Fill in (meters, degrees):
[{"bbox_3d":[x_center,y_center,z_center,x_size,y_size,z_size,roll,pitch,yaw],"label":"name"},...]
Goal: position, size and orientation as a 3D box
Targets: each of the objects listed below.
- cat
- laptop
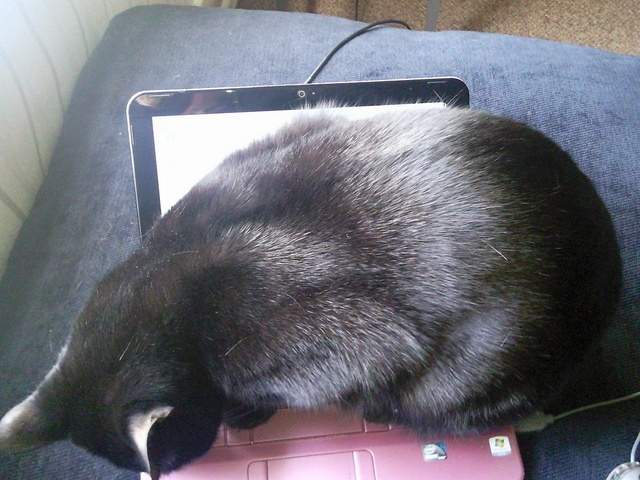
[{"bbox_3d":[-0.018,0.070,0.780,0.779,0.227,0.414,-14,58,-10],"label":"cat"},{"bbox_3d":[0.000,0.088,0.905,0.543,0.331,0.509,-6,49,-1],"label":"laptop"}]
